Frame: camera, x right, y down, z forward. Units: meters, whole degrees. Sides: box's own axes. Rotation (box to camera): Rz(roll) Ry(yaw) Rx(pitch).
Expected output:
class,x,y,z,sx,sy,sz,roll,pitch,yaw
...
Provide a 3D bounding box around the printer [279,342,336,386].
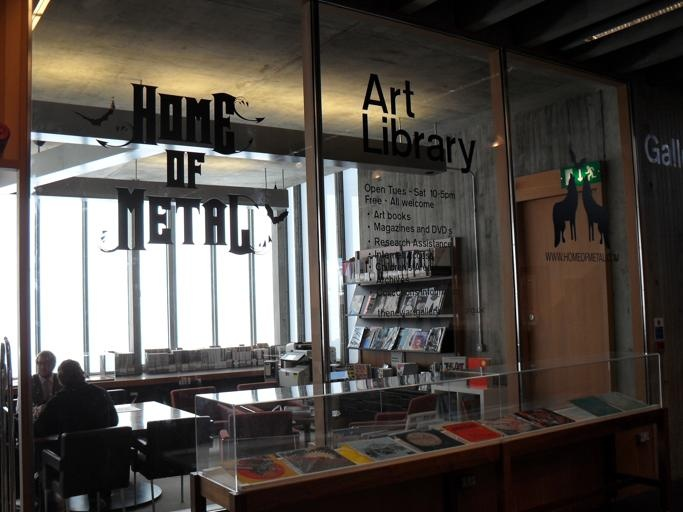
class,x,y,z,sx,sy,sz,roll,pitch,yaw
printer,-0.335,0.777,4.573,0.189,0.288,0.236,-2,-1,32

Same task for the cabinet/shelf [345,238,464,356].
class,x,y,z,sx,sy,sz,roll,pitch,yaw
cabinet/shelf,0.440,0.323,4.787,1.020,0.868,0.324,-1,1,33

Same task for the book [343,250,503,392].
class,x,y,z,sx,sy,sz,roll,pitch,yaw
book,0.563,0.489,4.742,0.344,0.941,0.904,7,-11,-35

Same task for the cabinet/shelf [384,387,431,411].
class,x,y,z,sx,sy,sz,roll,pitch,yaw
cabinet/shelf,0.417,0.891,3.975,0.187,0.203,0.164,-4,-6,42
